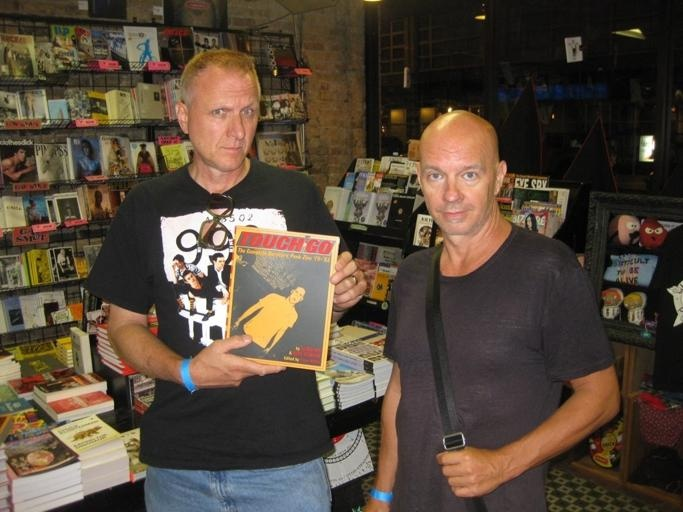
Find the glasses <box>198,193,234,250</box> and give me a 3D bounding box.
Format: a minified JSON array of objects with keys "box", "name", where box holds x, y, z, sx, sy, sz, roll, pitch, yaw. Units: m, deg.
[{"box":[-0.421,-0.109,1.794,0.116,0.054,0.154,29,-30,-5],"name":"glasses"}]
